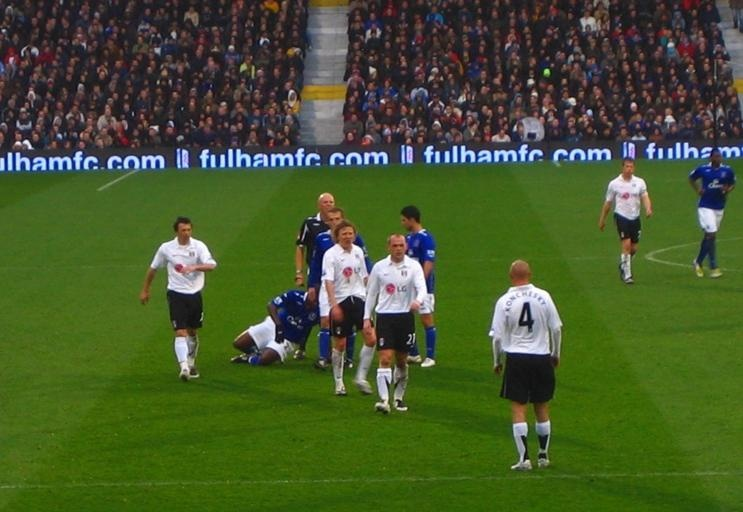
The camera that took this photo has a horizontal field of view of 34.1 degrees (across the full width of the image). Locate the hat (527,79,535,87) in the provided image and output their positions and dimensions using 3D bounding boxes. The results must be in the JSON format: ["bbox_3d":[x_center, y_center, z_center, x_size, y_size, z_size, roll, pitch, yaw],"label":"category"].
[{"bbox_3d":[5.763,-6.272,44.061,0.330,0.293,0.379,-1,7,5],"label":"hat"}]

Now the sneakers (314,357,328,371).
[{"bbox_3d":[-1.056,2.251,25.397,0.147,0.151,0.343,8,3,11],"label":"sneakers"}]

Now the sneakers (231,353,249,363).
[{"bbox_3d":[-2.810,2.157,25.888,0.452,0.208,0.178,2,1,3],"label":"sneakers"}]

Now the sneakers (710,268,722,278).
[{"bbox_3d":[8.380,0.410,29.547,0.130,0.166,0.386,-2,-2,-5],"label":"sneakers"}]

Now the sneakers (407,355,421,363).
[{"bbox_3d":[0.884,2.182,25.695,0.126,0.155,0.362,4,6,29],"label":"sneakers"}]

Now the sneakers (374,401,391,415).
[{"bbox_3d":[0.188,2.942,23.571,0.271,0.181,0.449,3,-1,3],"label":"sneakers"}]

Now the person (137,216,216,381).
[{"bbox_3d":[-3.914,0.872,24.953,1.301,3.312,0.688,-1,4,-10],"label":"person"}]

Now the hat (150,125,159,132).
[{"bbox_3d":[-7.817,-4.583,43.355,0.265,0.298,0.267,11,5,-6],"label":"hat"}]

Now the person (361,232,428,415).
[{"bbox_3d":[0.424,1.321,23.453,1.162,3.465,0.518,0,4,2],"label":"person"}]

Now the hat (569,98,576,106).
[{"bbox_3d":[7.132,-5.481,43.180,0.229,0.328,0.516,3,5,35],"label":"hat"}]

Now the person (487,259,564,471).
[{"bbox_3d":[2.771,1.995,21.898,1.193,3.811,0.433,0,4,7],"label":"person"}]

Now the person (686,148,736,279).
[{"bbox_3d":[8.351,-1.083,29.929,0.977,3.108,1.561,1,4,15],"label":"person"}]

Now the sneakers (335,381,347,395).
[{"bbox_3d":[-0.645,2.645,24.324,0.279,0.279,0.173,-2,5,-8],"label":"sneakers"}]

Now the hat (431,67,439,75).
[{"bbox_3d":[2.340,-6.796,44.545,0.229,0.292,0.384,3,5,35],"label":"hat"}]

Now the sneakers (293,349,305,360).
[{"bbox_3d":[-1.579,2.105,26.092,0.228,0.180,0.448,-1,-2,1],"label":"sneakers"}]

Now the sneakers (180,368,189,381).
[{"bbox_3d":[-3.861,2.406,24.885,0.192,0.298,0.288,-1,4,-8],"label":"sneakers"}]

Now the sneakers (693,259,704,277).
[{"bbox_3d":[7.999,0.245,29.829,0.197,0.234,0.551,-5,33,2],"label":"sneakers"}]

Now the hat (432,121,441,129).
[{"bbox_3d":[2.282,-4.618,42.488,0.306,0.290,0.421,0,4,2],"label":"hat"}]

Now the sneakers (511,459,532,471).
[{"bbox_3d":[2.693,3.789,22.130,0.421,0.212,0.166,-1,-3,31],"label":"sneakers"}]

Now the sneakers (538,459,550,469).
[{"bbox_3d":[3.123,3.782,22.159,0.134,0.146,0.338,-1,-9,5],"label":"sneakers"}]

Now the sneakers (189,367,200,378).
[{"bbox_3d":[-3.706,2.407,25.118,0.197,0.234,0.537,1,-3,-9],"label":"sneakers"}]
